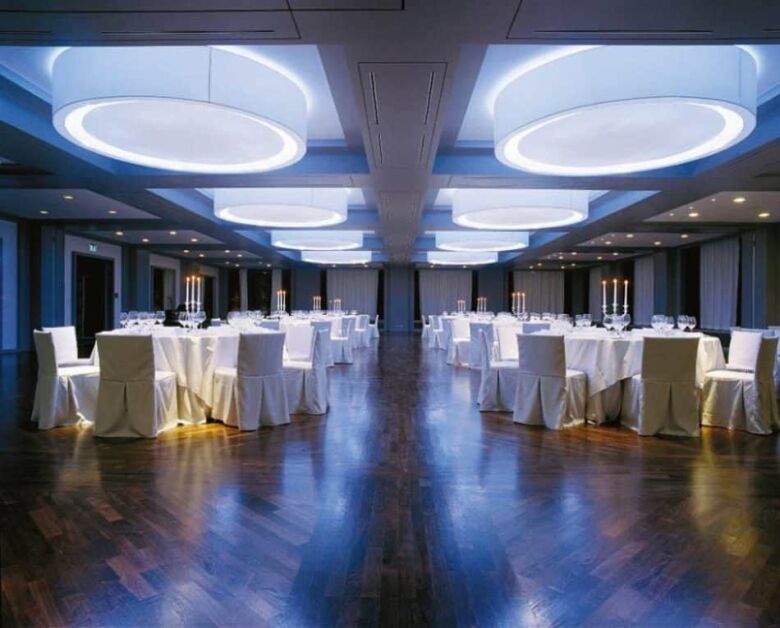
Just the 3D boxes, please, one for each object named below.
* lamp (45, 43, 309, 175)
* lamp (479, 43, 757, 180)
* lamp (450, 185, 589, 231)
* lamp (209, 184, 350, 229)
[{"bbox_3d":[-2.111,-2.101,5.451,2.484,0.669,2.572,0,3,-28],"label":"lamp"},{"bbox_3d":[2.307,-2.035,5.304,2.345,0.642,2.538,1,3,-6],"label":"lamp"},{"bbox_3d":[1.956,-1.592,8.101,1.957,0.603,1.938,5,12,19],"label":"lamp"},{"bbox_3d":[-1.563,-1.563,7.699,0.953,0.262,1.046,-1,-5,2],"label":"lamp"}]
